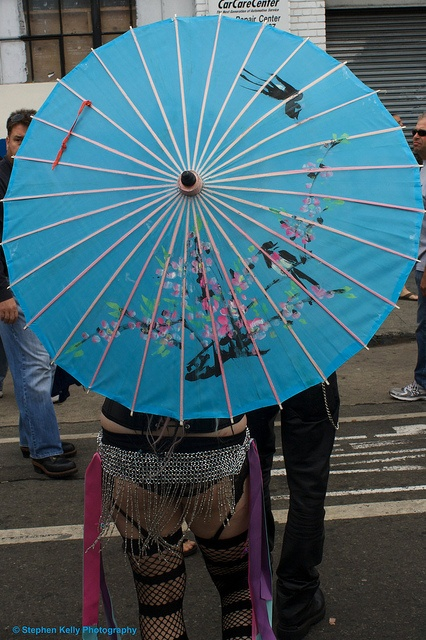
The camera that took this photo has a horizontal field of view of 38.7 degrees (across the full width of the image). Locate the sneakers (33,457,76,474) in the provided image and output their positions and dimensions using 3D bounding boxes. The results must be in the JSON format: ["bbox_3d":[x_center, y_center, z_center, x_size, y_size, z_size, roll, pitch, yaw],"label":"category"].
[{"bbox_3d":[-1.111,0.975,4.150,0.331,0.125,0.123,-1,3,22],"label":"sneakers"}]
